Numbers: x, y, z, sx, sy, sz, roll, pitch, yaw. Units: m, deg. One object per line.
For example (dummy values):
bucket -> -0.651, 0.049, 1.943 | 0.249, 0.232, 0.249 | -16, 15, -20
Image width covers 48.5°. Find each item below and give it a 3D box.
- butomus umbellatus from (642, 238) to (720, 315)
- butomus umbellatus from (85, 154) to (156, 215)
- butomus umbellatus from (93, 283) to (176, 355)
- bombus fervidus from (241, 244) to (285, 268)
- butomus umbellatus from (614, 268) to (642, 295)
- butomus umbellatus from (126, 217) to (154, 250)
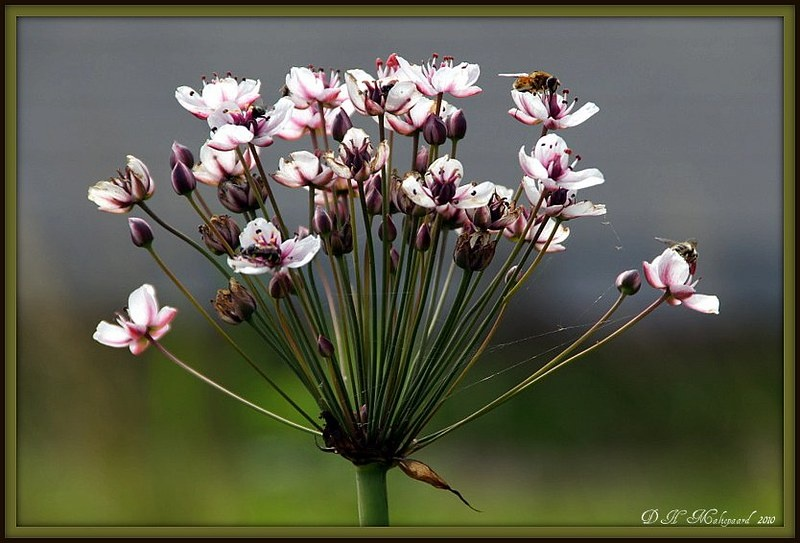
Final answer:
butomus umbellatus -> 0.725, 0.007, 2.302 | 0.163, 0.075, 0.174 | 23, 32, 16
butomus umbellatus -> -0.728, -0.227, 2.309 | 0.118, 0.146, 0.107 | -3, -3, 29
butomus umbellatus -> -0.695, 0.123, 2.329 | 0.167, 0.186, 0.142 | -3, -3, 21
bombus fervidus -> -0.343, -0.044, 2.190 | 0.071, 0.065, 0.026 | 21, -29, -12
butomus umbellatus -> 0.544, 0.024, 2.102 | 0.048, 0.037, 0.045 | 32, -59, -26
butomus umbellatus -> -0.662, -0.102, 2.259 | 0.053, 0.082, 0.142 | -1, -3, -17
